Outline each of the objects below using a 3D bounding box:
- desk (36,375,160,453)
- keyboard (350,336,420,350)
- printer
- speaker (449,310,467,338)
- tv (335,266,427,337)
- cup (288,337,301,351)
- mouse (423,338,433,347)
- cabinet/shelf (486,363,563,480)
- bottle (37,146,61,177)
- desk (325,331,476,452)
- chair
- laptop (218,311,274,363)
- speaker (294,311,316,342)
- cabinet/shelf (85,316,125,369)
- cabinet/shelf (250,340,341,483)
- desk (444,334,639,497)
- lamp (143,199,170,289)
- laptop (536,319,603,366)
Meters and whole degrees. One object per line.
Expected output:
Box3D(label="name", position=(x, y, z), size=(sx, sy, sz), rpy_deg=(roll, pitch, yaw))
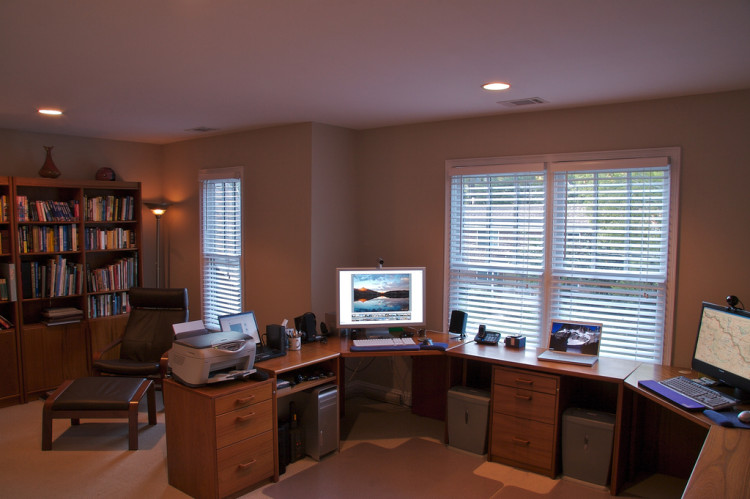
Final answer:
Box3D(label="desk", position=(-2.633, 1.556, 5.289), size=(0.919, 0.551, 0.590), rpy_deg=(-1, 13, -3))
Box3D(label="keyboard", position=(0.099, 0.904, 5.322), size=(0.640, 0.054, 0.343), rpy_deg=(-1, 13, -2))
Box3D(label="printer", position=(-1.376, 0.817, 4.608), size=(0.470, 0.288, 0.532), rpy_deg=(2, 2, 30))
Box3D(label="speaker", position=(0.830, 0.734, 5.558), size=(0.165, 0.257, 0.187), rpy_deg=(2, 14, 8))
Box3D(label="tv", position=(0.059, 0.514, 5.553), size=(0.743, 0.582, 0.071), rpy_deg=(0, 1, -5))
Box3D(label="cup", position=(-0.750, 0.880, 5.186), size=(0.112, 0.114, 0.115), rpy_deg=(0, -6, 0))
Box3D(label="mouse", position=(0.506, 0.891, 5.315), size=(0.091, 0.043, 0.214), rpy_deg=(1, 13, 7))
Box3D(label="cabinet/shelf", position=(1.423, 1.489, 5.157), size=(0.821, 1.127, 0.810), rpy_deg=(1, 0, 28))
Box3D(label="bottle", position=(-3.777, -1.003, 6.406), size=(0.199, 0.358, 0.379), rpy_deg=(-6, 15, -23))
Box3D(label="desk", position=(0.110, 1.042, 5.637), size=(1.691, 1.198, 0.872), rpy_deg=(-1, -4, 33))
Box3D(label="chair", position=(-2.464, 0.947, 6.069), size=(1.004, 1.368, 1.154), rpy_deg=(0, 4, 3))
Box3D(label="laptop", position=(-1.171, 0.760, 5.045), size=(0.428, 0.335, 0.477), rpy_deg=(6, 7, 39))
Box3D(label="speaker", position=(-0.672, 0.767, 5.440), size=(0.195, 0.269, 0.207), rpy_deg=(-4, 14, -17))
Box3D(label="cabinet/shelf", position=(-3.131, 1.059, 6.397), size=(0.211, 0.553, 0.625), rpy_deg=(0, 1, 22))
Box3D(label="cabinet/shelf", position=(-0.724, 1.472, 4.906), size=(0.506, 1.085, 1.229), rpy_deg=(1, 2, 37))
Box3D(label="desk", position=(1.473, 1.031, 4.830), size=(1.910, 1.157, 1.016), rpy_deg=(1, -2, 37))
Box3D(label="lamp", position=(-2.784, -0.062, 7.185), size=(0.271, 1.138, 0.565), rpy_deg=(-6, 15, -21))
Box3D(label="laptop", position=(1.770, 0.760, 4.926), size=(0.445, 0.314, 0.409), rpy_deg=(2, 2, 30))
